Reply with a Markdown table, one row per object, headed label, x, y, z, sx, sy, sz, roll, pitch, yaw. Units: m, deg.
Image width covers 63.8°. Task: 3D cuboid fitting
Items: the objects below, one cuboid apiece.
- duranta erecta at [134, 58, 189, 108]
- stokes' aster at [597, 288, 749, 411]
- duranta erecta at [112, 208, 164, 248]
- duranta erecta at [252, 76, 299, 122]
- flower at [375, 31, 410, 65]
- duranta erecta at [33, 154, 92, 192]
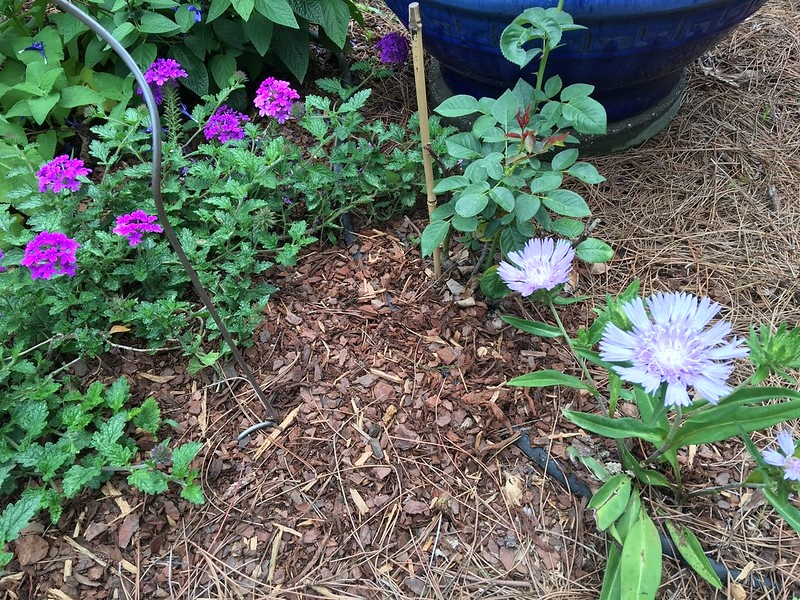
| label | x | y | z | sx | sy | sz | roll | pitch | yaw |
| --- | --- | --- | --- | --- | --- | --- | --- | --- | --- |
| duranta erecta | -1.174 | -1.110 | 3.267 | 0.186 | 0.225 | 0.175 | -21 | 59 | -11 |
| stokes' aster | 0.863 | 0.118 | 2.047 | 0.388 | 0.132 | 0.380 | -12 | 22 | -6 |
| duranta erecta | -1.116 | -0.299 | 2.780 | 0.176 | 0.086 | 0.172 | 5 | 49 | 8 |
| duranta erecta | -0.584 | -0.926 | 3.057 | 0.184 | 0.222 | 0.209 | -17 | 59 | -9 |
| flower | -0.042 | -1.426 | 3.730 | 0.191 | 0.182 | 0.187 | -2 | 67 | -2 |
| duranta erecta | -1.464 | -0.537 | 2.835 | 0.196 | 0.089 | 0.182 | -4 | 46 | -6 |
